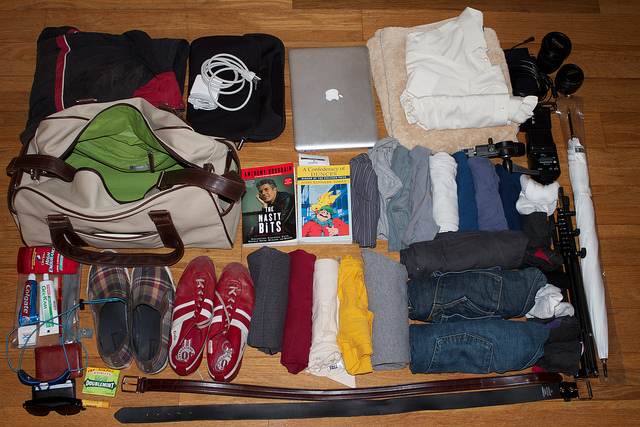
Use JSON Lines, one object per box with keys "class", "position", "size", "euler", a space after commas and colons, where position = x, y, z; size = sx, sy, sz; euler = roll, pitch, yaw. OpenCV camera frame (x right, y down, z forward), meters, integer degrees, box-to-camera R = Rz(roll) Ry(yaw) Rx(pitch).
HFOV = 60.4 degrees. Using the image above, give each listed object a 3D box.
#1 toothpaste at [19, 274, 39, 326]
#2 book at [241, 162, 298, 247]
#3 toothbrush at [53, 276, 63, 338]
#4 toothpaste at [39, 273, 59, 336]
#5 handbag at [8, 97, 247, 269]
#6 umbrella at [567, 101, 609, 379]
{"class": "toothpaste", "position": [-1.608, 0.477, 3.065], "size": [0.101, 0.295, 0.070], "euler": [-2, 1, -10]}
{"class": "book", "position": [-0.290, -0.054, 3.211], "size": [0.318, 0.417, 0.140], "euler": [-2, 1, -6]}
{"class": "toothbrush", "position": [-1.458, 0.523, 3.083], "size": [0.033, 0.352, 0.082], "euler": [-3, 1, -25]}
{"class": "toothpaste", "position": [-1.509, 0.505, 3.069], "size": [0.100, 0.363, 0.076], "euler": [-3, 1, -24]}
{"class": "handbag", "position": [-1.077, -0.114, 3.386], "size": [1.573, 0.900, 0.563], "euler": [2, -16, 0]}
{"class": "umbrella", "position": [1.556, 0.178, 3.239], "size": [0.109, 1.471, 0.104], "euler": [-4, -11, 2]}
